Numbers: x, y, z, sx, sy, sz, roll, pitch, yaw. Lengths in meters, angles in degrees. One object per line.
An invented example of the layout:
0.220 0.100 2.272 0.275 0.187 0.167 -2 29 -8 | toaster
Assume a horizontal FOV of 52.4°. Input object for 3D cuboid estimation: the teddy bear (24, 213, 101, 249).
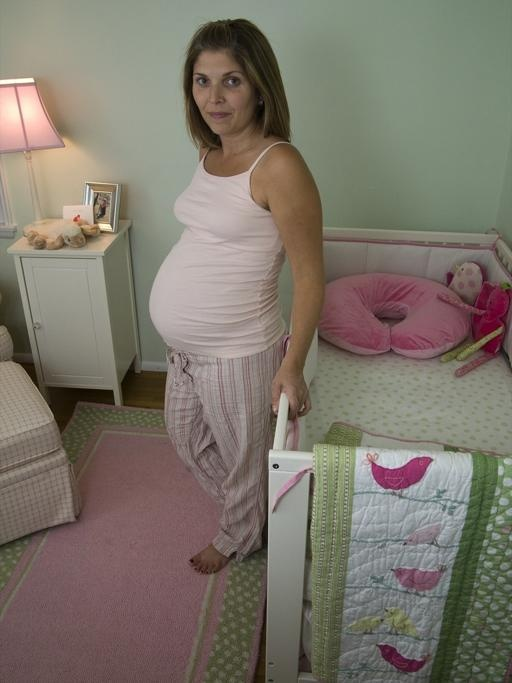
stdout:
-0.763 -0.410 1.975 0.198 0.063 0.159 14 36 18 | teddy bear
